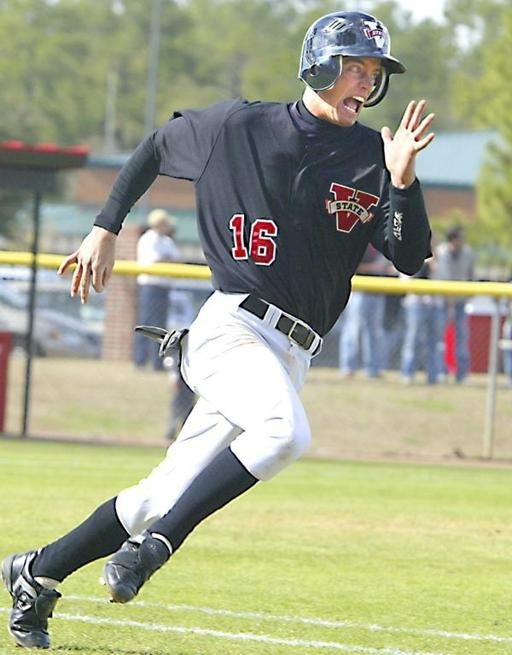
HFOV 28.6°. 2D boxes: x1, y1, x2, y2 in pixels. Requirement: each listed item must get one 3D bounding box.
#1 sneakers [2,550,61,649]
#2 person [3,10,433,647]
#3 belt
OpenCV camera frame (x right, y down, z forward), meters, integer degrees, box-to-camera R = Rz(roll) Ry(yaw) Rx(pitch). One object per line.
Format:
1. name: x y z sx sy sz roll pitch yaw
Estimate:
1. sneakers: -0.659 0.737 2.689 0.231 0.257 0.111 -8 -7 34
2. person: -0.092 -0.024 2.681 1.133 1.751 0.735 -1 2 7
3. belt: 0.068 -0.014 2.700 0.176 0.045 0.192 27 -5 -40
